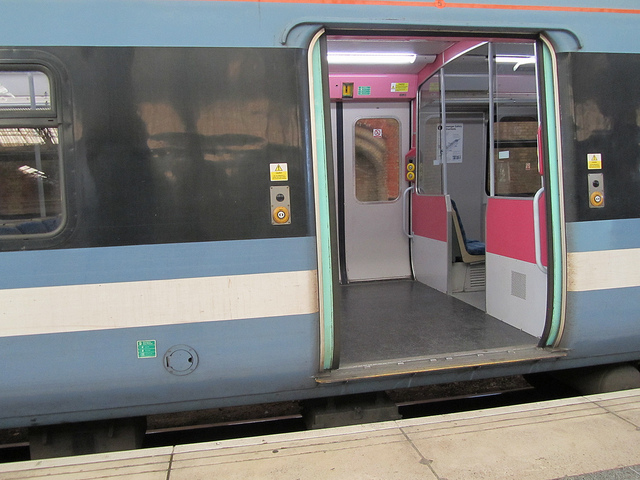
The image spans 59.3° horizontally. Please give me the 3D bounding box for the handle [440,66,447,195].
[{"bbox_3d":[1.475,-1.331,6.744,0.055,1.508,0.135,-2,7,13],"label":"handle"}]

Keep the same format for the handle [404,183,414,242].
[{"bbox_3d":[1.202,-0.380,7.620,0.153,0.795,0.119,-2,7,9],"label":"handle"}]

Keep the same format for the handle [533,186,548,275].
[{"bbox_3d":[1.842,-0.084,4.689,0.051,0.718,0.149,-2,-1,-17],"label":"handle"}]

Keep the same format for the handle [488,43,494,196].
[{"bbox_3d":[1.708,-1.168,5.614,0.055,1.574,0.060,0,26,17],"label":"handle"}]
